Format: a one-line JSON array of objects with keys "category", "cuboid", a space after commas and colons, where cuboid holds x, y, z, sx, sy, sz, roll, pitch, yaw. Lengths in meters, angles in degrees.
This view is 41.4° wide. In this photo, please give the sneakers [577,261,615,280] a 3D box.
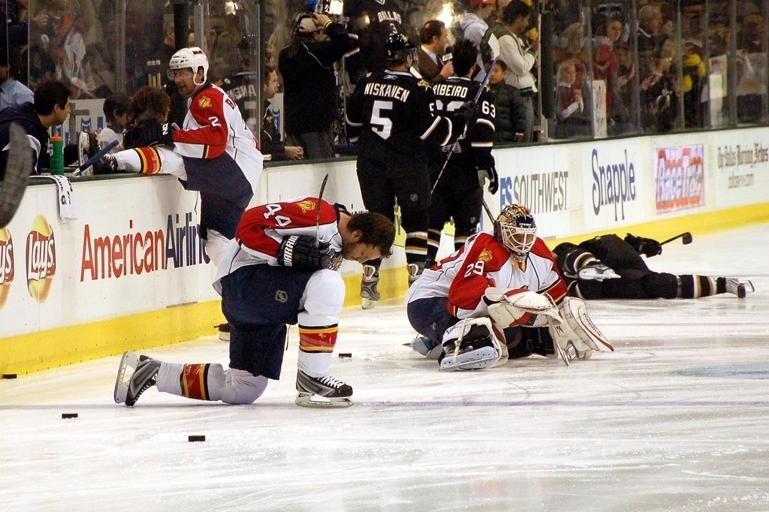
[{"category": "sneakers", "cuboid": [1.943, 0.134, 9.340, 0.271, 0.087, 0.162, 4, 9, 22]}]

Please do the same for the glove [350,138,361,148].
[{"category": "glove", "cuboid": [-0.300, -1.094, 9.763, 0.093, 0.114, 0.097, -6, -8, 45]}]

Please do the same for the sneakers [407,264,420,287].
[{"category": "sneakers", "cuboid": [0.273, 0.170, 9.774, 0.149, 0.184, 0.190, -1, 6, 3]}]

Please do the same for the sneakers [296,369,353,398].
[{"category": "sneakers", "cuboid": [-0.393, 0.813, 6.460, 0.429, 0.174, 0.141, 2, 4, 12]}]

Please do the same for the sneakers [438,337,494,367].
[{"category": "sneakers", "cuboid": [0.582, 0.697, 7.252, 0.298, 0.110, 0.206, -6, -2, 8]}]

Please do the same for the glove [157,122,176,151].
[{"category": "glove", "cuboid": [-1.690, -0.928, 7.836, 0.150, 0.203, 0.082, 0, 9, 5]}]

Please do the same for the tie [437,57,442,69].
[{"category": "tie", "cuboid": [0.563, -2.019, 10.592, 0.021, 0.059, 0.079, 0, -41, 24]}]

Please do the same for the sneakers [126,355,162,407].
[{"category": "sneakers", "cuboid": [-1.520, 0.762, 6.429, 0.179, 0.395, 0.133, 20, 12, -14]}]

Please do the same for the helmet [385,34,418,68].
[{"category": "helmet", "cuboid": [0.118, -1.912, 9.531, 0.360, 0.338, 0.287, -6, 6, -43]}]

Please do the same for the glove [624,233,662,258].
[{"category": "glove", "cuboid": [2.556, -0.120, 10.055, 0.297, 0.095, 0.234, 23, -8, 9]}]

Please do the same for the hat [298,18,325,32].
[{"category": "hat", "cuboid": [-0.714, -2.189, 9.623, 0.183, 0.136, 0.135, 0, -11, 29]}]

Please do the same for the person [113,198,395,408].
[{"category": "person", "cuboid": [-0.850, 0.295, 6.579, 1.822, 1.299, 0.864, -2, -8, 16]}]

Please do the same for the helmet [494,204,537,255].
[{"category": "helmet", "cuboid": [0.972, -0.219, 7.570, 0.302, 0.353, 0.381, 0, 21, -23]}]

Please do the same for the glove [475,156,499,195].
[{"category": "glove", "cuboid": [0.985, -0.858, 10.055, 0.235, 0.119, 0.305, -11, -37, -5]}]

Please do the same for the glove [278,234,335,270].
[{"category": "glove", "cuboid": [-0.490, -0.022, 6.158, 0.285, 0.202, 0.133, 7, 7, -1]}]

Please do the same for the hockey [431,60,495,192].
[{"category": "hockey", "cuboid": [0.739, -1.227, 9.858, 0.124, 1.430, 0.209, 23, 0, 6]}]

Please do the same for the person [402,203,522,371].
[{"category": "person", "cuboid": [0.582, 0.263, 7.926, 0.636, 1.308, 0.798, 22, -19, 9]}]

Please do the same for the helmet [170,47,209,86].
[{"category": "helmet", "cuboid": [-1.534, -1.488, 7.905, 0.230, 0.267, 0.293, 5, 20, 31]}]
